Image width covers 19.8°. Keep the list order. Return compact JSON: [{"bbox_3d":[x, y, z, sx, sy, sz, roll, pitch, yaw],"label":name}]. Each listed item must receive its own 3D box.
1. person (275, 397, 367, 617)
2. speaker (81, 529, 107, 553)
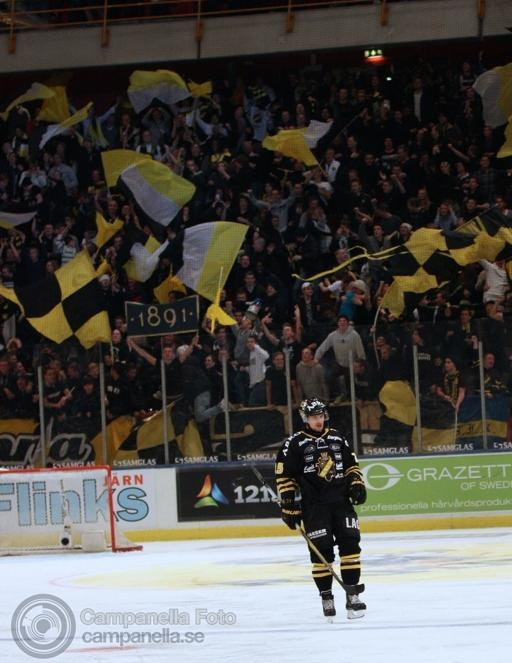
[{"bbox_3d":[0.561,1.561,13.726,1.173,2.125,0.647,-1,-5,-10],"label":"person"},{"bbox_3d":[-1.964,2.564,17.822,0.269,0.219,0.260,0,-3,5],"label":"speaker"}]
